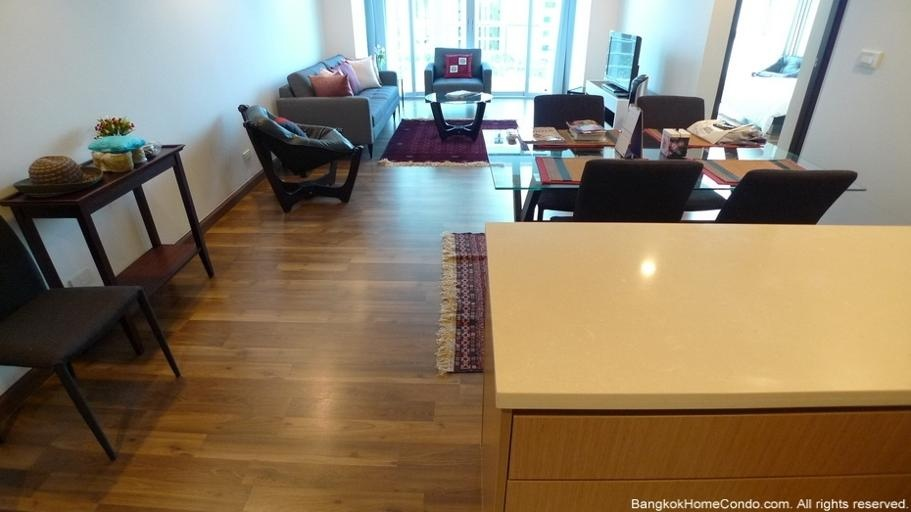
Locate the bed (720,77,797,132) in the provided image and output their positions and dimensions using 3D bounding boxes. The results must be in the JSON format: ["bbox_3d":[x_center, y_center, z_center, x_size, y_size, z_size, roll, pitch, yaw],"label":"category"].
[{"bbox_3d":[2.968,-1.528,5.963,0.336,0.552,0.919,1,27,1],"label":"bed"}]

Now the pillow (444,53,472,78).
[{"bbox_3d":[0.064,-2.698,8.705,0.436,0.315,0.113,0,10,0],"label":"pillow"}]

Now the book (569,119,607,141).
[{"bbox_3d":[1.014,-0.939,4.572,0.232,0.058,0.194,0,32,-2],"label":"book"}]

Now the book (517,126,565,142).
[{"bbox_3d":[0.658,-0.928,4.654,0.246,0.048,0.205,1,25,-2],"label":"book"}]

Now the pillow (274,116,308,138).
[{"bbox_3d":[-1.504,-1.171,5.555,0.254,0.204,0.526,-5,27,-11],"label":"pillow"}]

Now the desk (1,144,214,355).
[{"bbox_3d":[-2.360,-0.019,4.059,0.592,1.137,1.140,6,40,8],"label":"desk"}]

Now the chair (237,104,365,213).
[{"bbox_3d":[-1.482,-0.980,5.781,1.256,0.926,1.005,-8,39,-21],"label":"chair"}]

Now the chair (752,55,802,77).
[{"bbox_3d":[3.131,-1.807,5.831,0.351,0.198,0.320,-6,36,21],"label":"chair"}]

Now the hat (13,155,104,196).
[{"bbox_3d":[-2.502,-0.493,3.825,0.387,0.121,0.317,-11,32,-35],"label":"hat"}]

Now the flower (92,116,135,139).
[{"bbox_3d":[-2.370,-0.931,4.212,0.260,0.132,0.218,-4,35,-18],"label":"flower"}]
